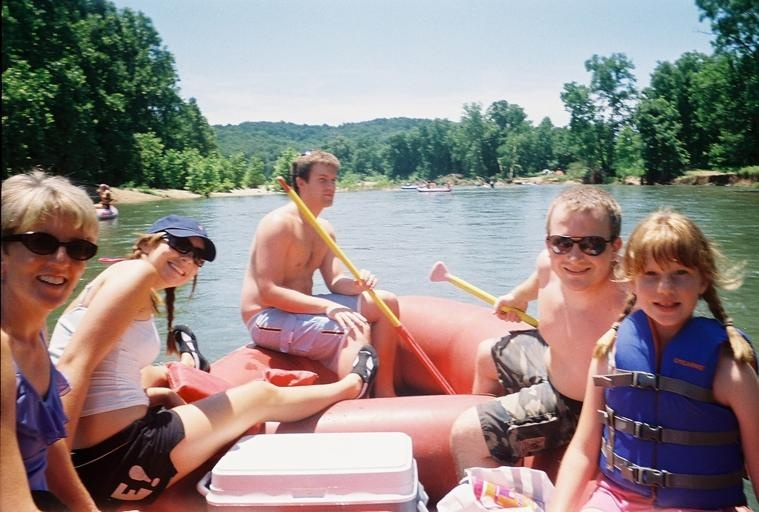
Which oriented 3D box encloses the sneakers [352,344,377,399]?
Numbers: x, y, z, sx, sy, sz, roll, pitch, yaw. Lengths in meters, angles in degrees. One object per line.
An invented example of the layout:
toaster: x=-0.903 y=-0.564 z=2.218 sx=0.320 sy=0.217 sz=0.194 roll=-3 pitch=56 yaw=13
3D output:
sneakers: x=-0.064 y=0.629 z=3.265 sx=0.111 sy=0.284 sz=0.130 roll=-5 pitch=-17 yaw=39

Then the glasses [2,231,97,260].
glasses: x=-1.176 y=-0.034 z=2.152 sx=0.297 sy=0.111 sz=0.105 roll=-3 pitch=7 yaw=-25

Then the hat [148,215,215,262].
hat: x=-1.030 y=-0.094 z=2.992 sx=0.318 sy=0.144 sz=0.226 roll=0 pitch=-28 yaw=36
